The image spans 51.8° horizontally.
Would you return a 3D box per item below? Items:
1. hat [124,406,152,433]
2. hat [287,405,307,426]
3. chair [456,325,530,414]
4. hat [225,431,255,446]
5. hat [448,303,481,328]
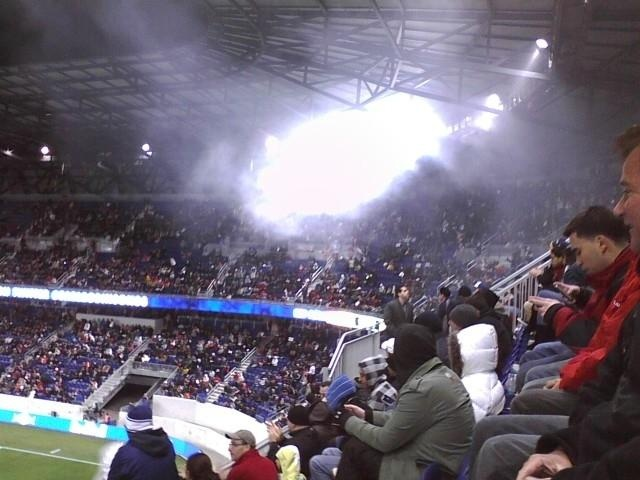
[{"bbox_3d":[-2.973,2.859,10.692,0.423,0.415,0.377,2,2,-20],"label":"hat"},{"bbox_3d":[-0.394,3.026,11.388,0.319,0.263,0.285,22,11,22],"label":"hat"},{"bbox_3d":[3.022,2.282,11.203,1.004,1.931,2.072,1,-1,23],"label":"chair"},{"bbox_3d":[-1.385,3.462,11.438,0.406,0.185,0.270,12,-10,6],"label":"hat"},{"bbox_3d":[2.457,1.317,11.256,0.453,0.375,0.351,24,13,30],"label":"hat"}]
